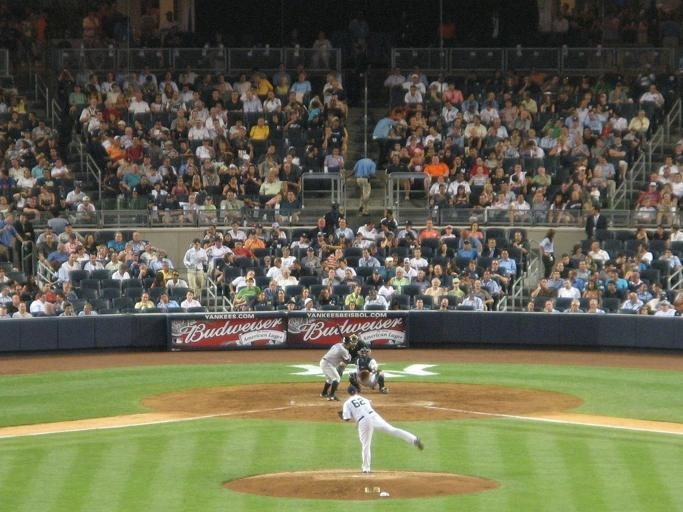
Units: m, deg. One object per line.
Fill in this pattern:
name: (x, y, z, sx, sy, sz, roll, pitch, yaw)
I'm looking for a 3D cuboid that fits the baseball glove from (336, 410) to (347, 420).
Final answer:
baseball glove: (-0.001, 3.818, 41.494, 0.150, 0.226, 0.540, -3, -8, -5)
